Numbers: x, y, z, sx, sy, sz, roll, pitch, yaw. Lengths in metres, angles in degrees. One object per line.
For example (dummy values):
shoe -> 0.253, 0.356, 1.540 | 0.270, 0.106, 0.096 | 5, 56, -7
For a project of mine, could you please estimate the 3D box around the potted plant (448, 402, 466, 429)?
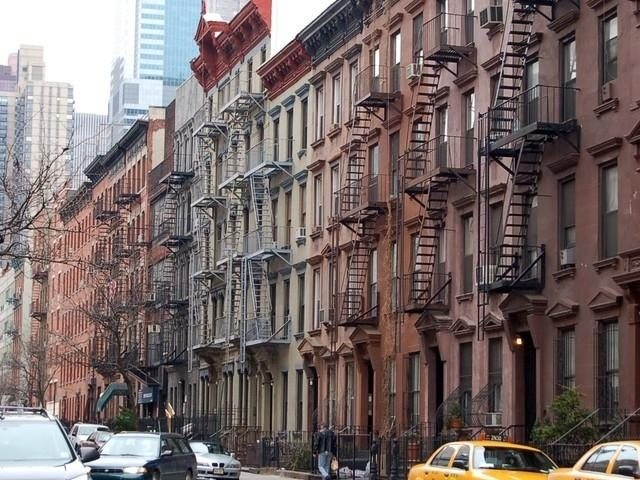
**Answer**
potted plant -> 4.635, 6.078, 50.232 | 0.522, 0.886, 0.396 | -4, -14, 10
